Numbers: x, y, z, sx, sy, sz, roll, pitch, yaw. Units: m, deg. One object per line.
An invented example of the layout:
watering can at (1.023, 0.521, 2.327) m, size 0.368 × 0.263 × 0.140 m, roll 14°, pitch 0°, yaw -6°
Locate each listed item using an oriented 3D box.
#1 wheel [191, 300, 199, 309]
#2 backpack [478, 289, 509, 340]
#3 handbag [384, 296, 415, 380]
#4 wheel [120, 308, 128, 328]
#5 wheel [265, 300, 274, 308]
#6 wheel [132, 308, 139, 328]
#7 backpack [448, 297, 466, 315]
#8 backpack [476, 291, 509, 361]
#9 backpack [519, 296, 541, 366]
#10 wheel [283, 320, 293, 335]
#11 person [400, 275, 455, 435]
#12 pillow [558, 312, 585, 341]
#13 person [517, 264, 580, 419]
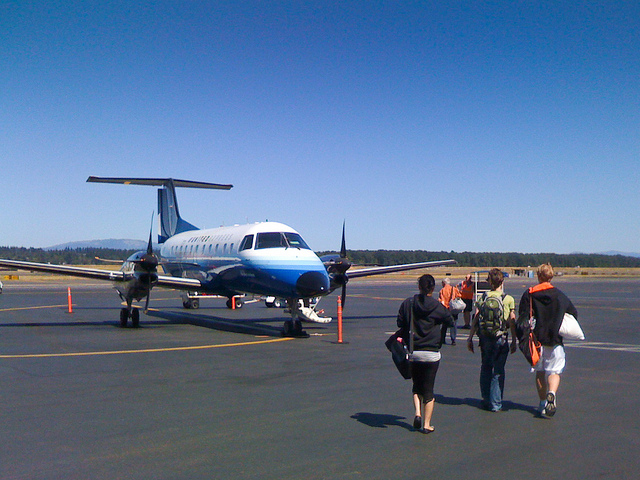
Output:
wheel at (-6.885, 3.530, 27.586) m, size 0.573 × 0.548 × 0.200 m, roll -4°, pitch -4°, yaw -33°
backpack at (2.975, 1.293, 8.769) m, size 0.498 × 0.744 × 0.443 m, roll 8°, pitch 1°, yaw 31°
handbag at (1.230, 1.530, 7.740) m, size 0.417 × 1.265 × 0.405 m, roll 0°, pitch 0°, yaw 7°
wheel at (-7.635, 3.057, 19.646) m, size 0.256 × 0.691 × 0.705 m, roll 0°, pitch 8°, yaw -12°
wheel at (-2.960, 3.720, 29.408) m, size 0.698 × 0.332 × 0.856 m, roll 2°, pitch -18°, yaw -6°
wheel at (-7.233, 3.080, 19.736) m, size 0.234 × 0.630 × 0.644 m, roll 2°, pitch -6°, yaw -14°
backpack at (3.711, 1.832, 13.769) m, size 0.362 × 0.475 × 0.909 m, roll 0°, pitch 0°, yaw 13°
backpack at (2.959, 1.512, 8.699) m, size 0.481 × 1.117 × 0.286 m, roll 0°, pitch 0°, yaw 17°
backpack at (3.506, 1.709, 8.492) m, size 0.352 × 0.592 × 0.284 m, roll 0°, pitch 0°, yaw 35°
wheel at (-1.087, 2.939, 16.991) m, size 0.216 × 0.474 × 0.324 m, roll 0°, pitch 0°, yaw -27°
person at (1.617, 1.714, 7.719) m, size 0.662 × 2.318 × 0.496 m, roll 0°, pitch 0°, yaw -30°
pillow at (4.213, 1.460, 8.498) m, size 0.557 × 0.310 × 0.179 m, roll 0°, pitch 0°, yaw -22°
person at (3.732, 1.650, 8.439) m, size 0.821 × 2.472 × 0.735 m, roll 0°, pitch 0°, yaw 25°
